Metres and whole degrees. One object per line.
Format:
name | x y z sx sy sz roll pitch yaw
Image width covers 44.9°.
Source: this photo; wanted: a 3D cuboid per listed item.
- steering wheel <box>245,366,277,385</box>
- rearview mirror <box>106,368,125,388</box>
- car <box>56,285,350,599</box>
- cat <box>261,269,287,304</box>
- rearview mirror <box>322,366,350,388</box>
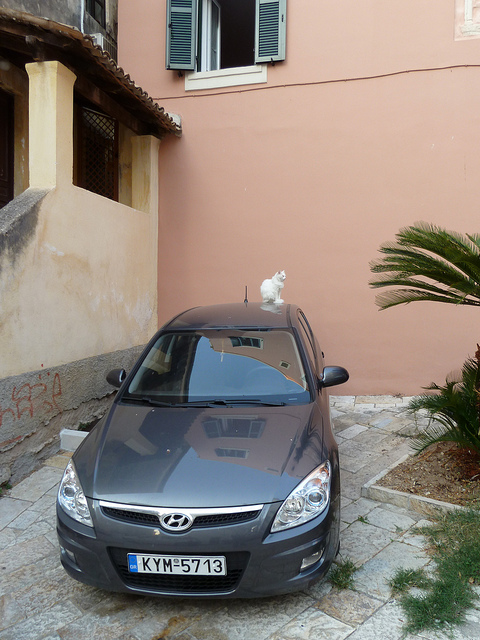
steering wheel | 0.143 0.390 4.027 0.123 0.120 0.031 -2 -17 0
rearview mirror | -0.911 0.431 4.301 0.147 0.098 0.073 -1 -20 45
car | -0.072 0.696 4.692 1.689 1.440 3.865 0 5 9
cat | 0.415 -0.405 7.030 0.407 0.446 0.269 2 17 13
rearview mirror | 0.696 0.420 4.259 0.174 0.065 0.135 -2 34 0
